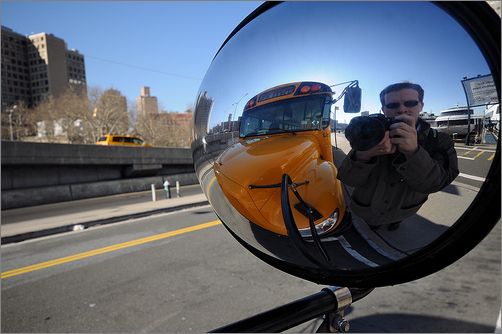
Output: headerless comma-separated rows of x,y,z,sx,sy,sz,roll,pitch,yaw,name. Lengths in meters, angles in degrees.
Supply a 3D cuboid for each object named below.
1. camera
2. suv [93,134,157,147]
0.331,-0.097,0.741,0.134,0.099,0.029,-2,4,12,camera
-10.808,-2.345,23.441,2.026,1.633,3.855,3,10,43,suv
